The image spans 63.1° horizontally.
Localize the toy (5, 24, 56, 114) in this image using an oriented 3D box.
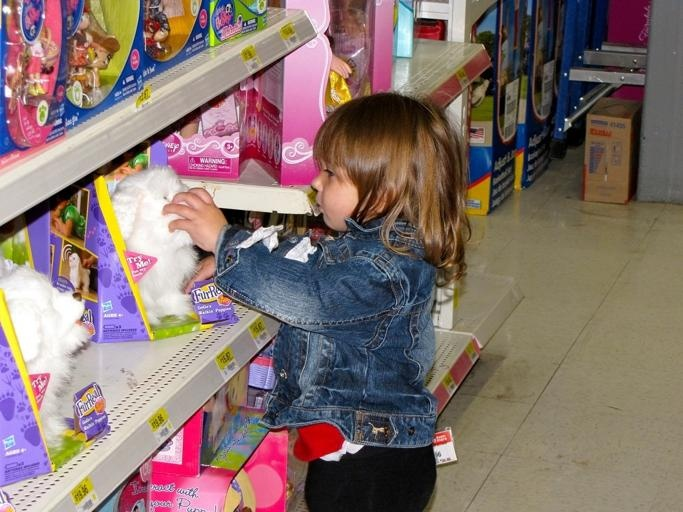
[{"bbox_3d":[-0.424,-0.253,0.757,0.022,0.111,0.056,7,10,27],"label":"toy"}]
